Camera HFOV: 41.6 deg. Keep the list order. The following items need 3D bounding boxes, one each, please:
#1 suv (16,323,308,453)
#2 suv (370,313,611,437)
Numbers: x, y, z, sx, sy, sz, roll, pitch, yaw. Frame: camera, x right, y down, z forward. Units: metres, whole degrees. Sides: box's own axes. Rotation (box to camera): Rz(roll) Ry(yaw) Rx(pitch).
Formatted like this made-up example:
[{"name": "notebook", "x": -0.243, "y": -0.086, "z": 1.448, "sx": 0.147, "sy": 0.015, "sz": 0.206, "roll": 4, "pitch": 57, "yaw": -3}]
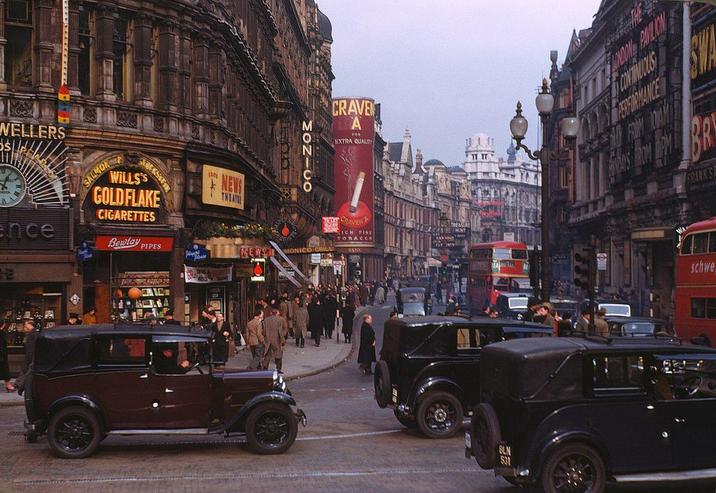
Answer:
[{"name": "suv", "x": -4.685, "y": 3.245, "z": 22.771, "sx": 5.468, "sy": 2.852, "sz": 3.015, "roll": 0, "pitch": -1, "yaw": -5}, {"name": "suv", "x": 2.553, "y": 3.175, "z": 24.437, "sx": 4.075, "sy": 2.562, "sz": 2.514, "roll": -1, "pitch": 1, "yaw": -10}]
